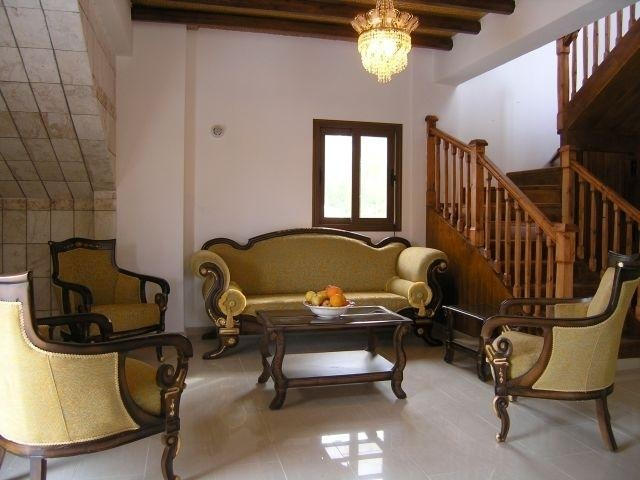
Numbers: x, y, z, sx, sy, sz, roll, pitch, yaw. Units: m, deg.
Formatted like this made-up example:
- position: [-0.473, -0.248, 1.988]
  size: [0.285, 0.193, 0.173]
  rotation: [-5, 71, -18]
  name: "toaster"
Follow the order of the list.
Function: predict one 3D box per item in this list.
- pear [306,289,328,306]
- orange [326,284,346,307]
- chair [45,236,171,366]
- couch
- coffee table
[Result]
- position: [-0.011, 0.484, 4.153]
  size: [0.128, 0.078, 0.126]
  rotation: [0, 0, 42]
  name: "pear"
- position: [0.130, 0.477, 4.108]
  size: [0.107, 0.088, 0.182]
  rotation: [13, 4, -19]
  name: "orange"
- position: [-2.095, 0.574, 4.764]
  size: [1.071, 1.248, 1.027]
  rotation: [-1, 2, -21]
  name: "chair"
- position: [0.023, 0.575, 5.637]
  size: [2.845, 1.335, 1.053]
  rotation: [0, 3, -17]
  name: "couch"
- position: [0.105, 0.918, 4.395]
  size: [1.347, 0.664, 1.194]
  rotation: [-1, 8, -9]
  name: "coffee table"
